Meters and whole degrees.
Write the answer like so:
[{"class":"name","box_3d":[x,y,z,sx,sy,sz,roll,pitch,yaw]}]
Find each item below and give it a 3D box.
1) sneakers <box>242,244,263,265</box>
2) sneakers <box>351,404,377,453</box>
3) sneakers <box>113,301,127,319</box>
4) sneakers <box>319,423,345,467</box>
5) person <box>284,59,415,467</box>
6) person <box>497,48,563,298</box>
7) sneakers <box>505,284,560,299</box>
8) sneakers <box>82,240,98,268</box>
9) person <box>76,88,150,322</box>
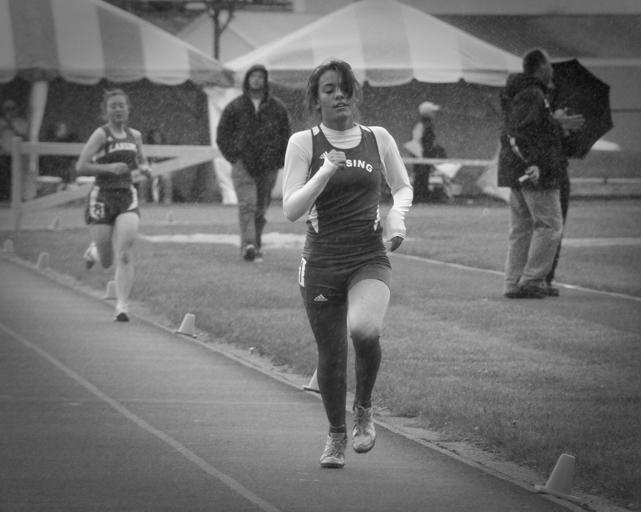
[{"class":"sneakers","box_3d":[-0.535,-0.013,7.590,0.101,0.178,0.121,-18,21,5]},{"class":"sneakers","box_3d":[0.216,0.869,5.035,0.103,0.130,0.295,-2,14,1]},{"class":"sneakers","box_3d":[-1.513,0.411,7.344,0.117,0.192,0.121,1,-6,-3]},{"class":"sneakers","box_3d":[0.060,0.980,4.921,0.088,0.108,0.254,1,2,5]},{"class":"person","box_3d":[0.115,0.054,4.888,0.589,2.033,0.534,5,14,12]},{"class":"person","box_3d":[1.419,-0.526,6.587,0.472,1.712,0.329,8,14,23]},{"class":"sneakers","box_3d":[1.489,0.257,6.847,0.372,0.158,0.126,1,-3,21]},{"class":"sneakers","box_3d":[-1.796,-0.010,7.526,0.074,0.187,0.135,3,10,9]},{"class":"person","box_3d":[-1.558,-0.383,7.321,0.522,1.737,0.368,1,13,-6]}]
